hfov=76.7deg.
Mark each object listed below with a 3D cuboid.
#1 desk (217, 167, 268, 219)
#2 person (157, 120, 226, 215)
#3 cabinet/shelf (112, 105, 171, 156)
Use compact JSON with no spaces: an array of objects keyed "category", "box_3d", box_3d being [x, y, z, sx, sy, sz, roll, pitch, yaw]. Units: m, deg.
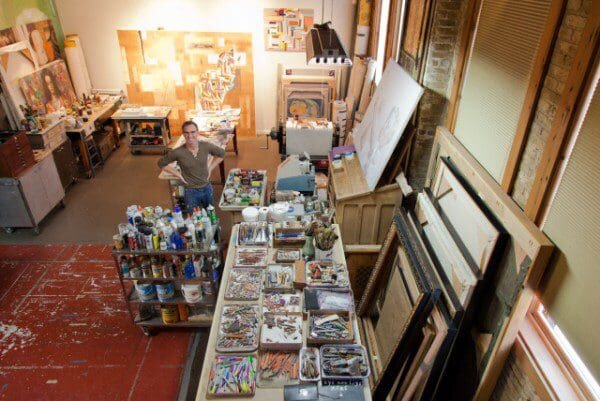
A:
[{"category":"desk","box_3d":[-0.854,-0.154,5.948,0.574,0.380,0.891,2,39,2]},{"category":"person","box_3d":[-1.671,-0.505,6.007,1.012,1.472,0.503,-13,32,-19]},{"category":"cabinet/shelf","box_3d":[-3.698,-1.745,9.325,1.443,1.072,1.141,1,47,-4]}]
